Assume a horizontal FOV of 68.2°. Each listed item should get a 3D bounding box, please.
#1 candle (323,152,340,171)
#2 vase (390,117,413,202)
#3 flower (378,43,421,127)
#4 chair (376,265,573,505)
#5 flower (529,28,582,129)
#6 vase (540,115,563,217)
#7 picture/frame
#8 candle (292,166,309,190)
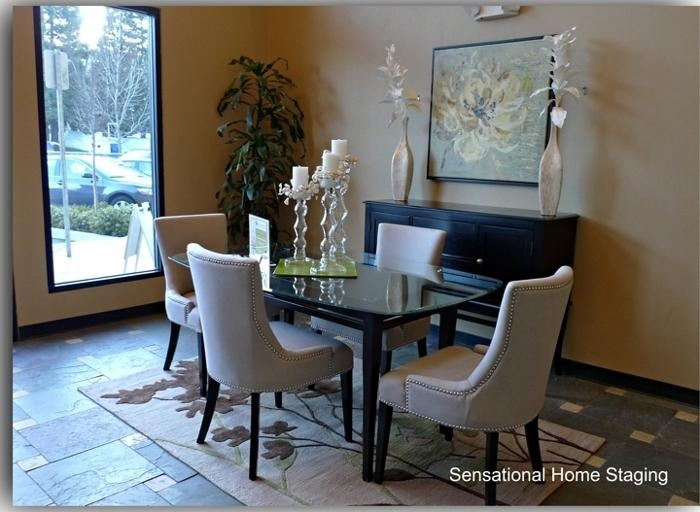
[{"bbox_3d":[-0.138,-0.583,3.238,0.109,0.125,0.107,-3,6,-45],"label":"candle"},{"bbox_3d":[0.472,-0.853,4.534,0.187,0.727,0.403,2,11,7],"label":"vase"},{"bbox_3d":[0.444,-1.542,4.618,0.379,0.741,0.523,2,11,3],"label":"flower"},{"bbox_3d":[0.616,0.633,2.649,0.842,1.205,0.402,6,12,24],"label":"chair"},{"bbox_3d":[1.508,-1.307,3.756,0.366,0.731,0.360,5,12,22],"label":"flower"},{"bbox_3d":[1.466,-0.624,3.758,0.151,0.656,0.280,3,11,8],"label":"vase"},{"bbox_3d":[1.175,-1.196,4.164,0.050,1.391,1.273,-10,12,-44],"label":"picture/frame"},{"bbox_3d":[-0.311,-0.494,3.256,0.095,0.136,0.142,-1,11,-10],"label":"candle"}]
